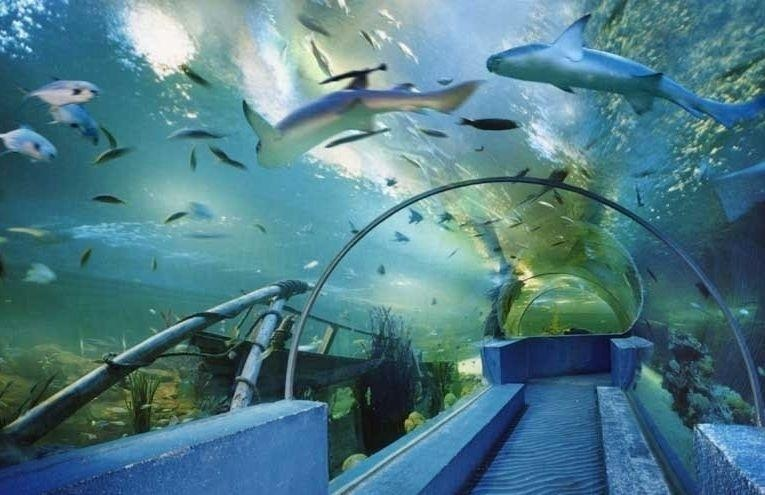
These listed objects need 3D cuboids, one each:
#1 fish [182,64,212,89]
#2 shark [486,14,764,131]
[{"bbox_3d":[-2.715,-2.430,6.488,0.477,0.165,0.220,33,9,-11],"label":"fish"},{"bbox_3d":[2.898,-1.980,5.370,3.136,0.668,1.412,13,-20,4],"label":"shark"}]
